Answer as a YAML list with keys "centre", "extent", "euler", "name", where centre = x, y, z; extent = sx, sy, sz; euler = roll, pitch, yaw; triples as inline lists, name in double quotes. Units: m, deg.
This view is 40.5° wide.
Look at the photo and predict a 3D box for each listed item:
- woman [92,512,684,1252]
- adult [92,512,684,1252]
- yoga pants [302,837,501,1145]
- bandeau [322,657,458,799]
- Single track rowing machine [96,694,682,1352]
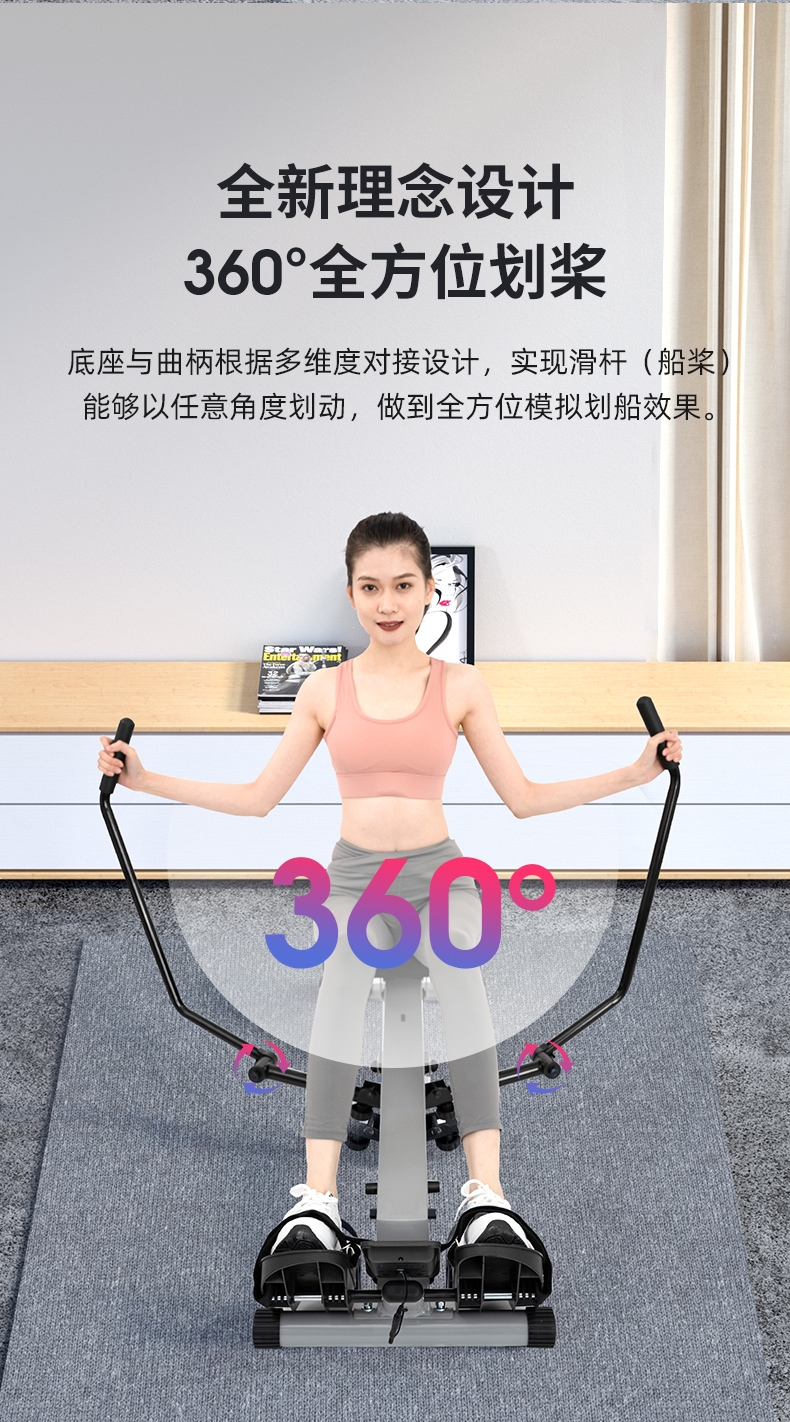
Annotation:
- centre: [0.023, 0.158, 1.099]
  extent: [0.590, 0.719, 0.393]
  euler: [-2, 6, -10]
  name: "woman"
- centre: [0.026, 0.158, 1.114]
  extent: [0.578, 0.729, 0.448]
  euler: [-2, 6, -11]
  name: "adult"
- centre: [0.008, 0.307, 1.094]
  extent: [0.203, 0.139, 0.438]
  euler: [-6, 27, 3]
  name: "yoga pants"
- centre: [-0.001, 0.029, 1.193]
  extent: [0.143, 0.214, 0.116]
  euler: [2, -25, -6]
  name: "bandeau"
- centre: [0.028, 0.304, 1.406]
  extent: [0.623, 0.368, 0.929]
  euler: [2, 29, 2]
  name: "Single track rowing machine"
